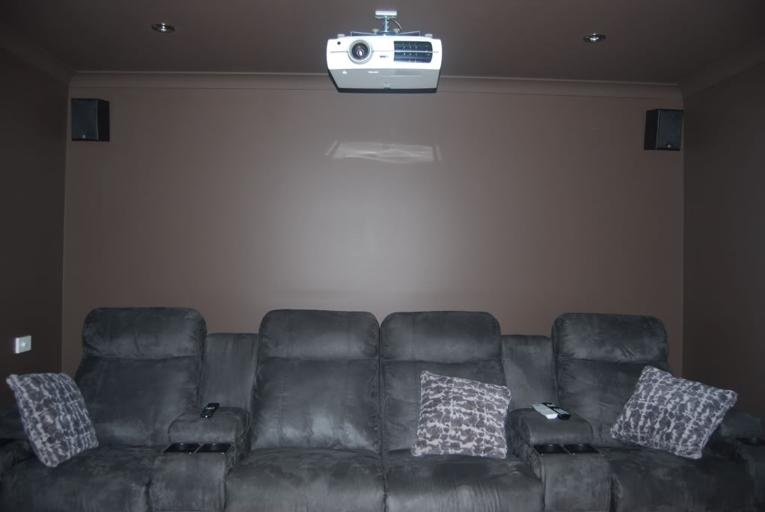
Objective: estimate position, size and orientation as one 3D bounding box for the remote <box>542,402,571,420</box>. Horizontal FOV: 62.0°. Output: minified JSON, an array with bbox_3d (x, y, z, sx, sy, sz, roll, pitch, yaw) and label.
[{"bbox_3d":[1.307,1.169,4.842,0.176,0.070,0.324,2,-2,3],"label":"remote"}]

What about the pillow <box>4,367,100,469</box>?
[{"bbox_3d":[-2.370,1.175,4.613,0.318,0.601,0.519,1,-2,41],"label":"pillow"}]

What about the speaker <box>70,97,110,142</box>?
[{"bbox_3d":[-2.604,-1.198,5.669,0.378,0.362,0.094,-5,5,-8],"label":"speaker"}]

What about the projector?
[{"bbox_3d":[0.018,-1.404,4.617,0.787,0.204,0.400,2,-2,8],"label":"projector"}]

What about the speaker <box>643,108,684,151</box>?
[{"bbox_3d":[2.559,-1.152,5.838,0.304,0.355,0.148,2,-2,12],"label":"speaker"}]

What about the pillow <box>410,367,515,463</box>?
[{"bbox_3d":[0.581,1.194,4.768,0.696,0.584,0.259,2,-2,8],"label":"pillow"}]
